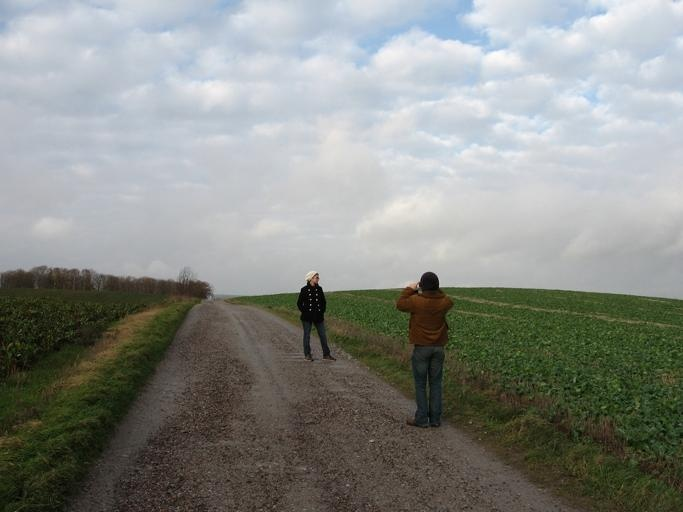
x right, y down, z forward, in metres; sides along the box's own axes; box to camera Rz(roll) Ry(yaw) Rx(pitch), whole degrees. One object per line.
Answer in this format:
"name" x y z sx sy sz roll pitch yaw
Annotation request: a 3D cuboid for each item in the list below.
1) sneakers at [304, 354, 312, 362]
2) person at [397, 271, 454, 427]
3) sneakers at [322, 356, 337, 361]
"sneakers" -1.041 3.302 15.906 0.241 0.173 0.557 1 9 -3
"person" 1.863 2.136 11.133 1.117 3.450 1.144 3 9 8
"sneakers" -0.393 3.369 16.279 0.396 0.185 0.158 2 -5 10
